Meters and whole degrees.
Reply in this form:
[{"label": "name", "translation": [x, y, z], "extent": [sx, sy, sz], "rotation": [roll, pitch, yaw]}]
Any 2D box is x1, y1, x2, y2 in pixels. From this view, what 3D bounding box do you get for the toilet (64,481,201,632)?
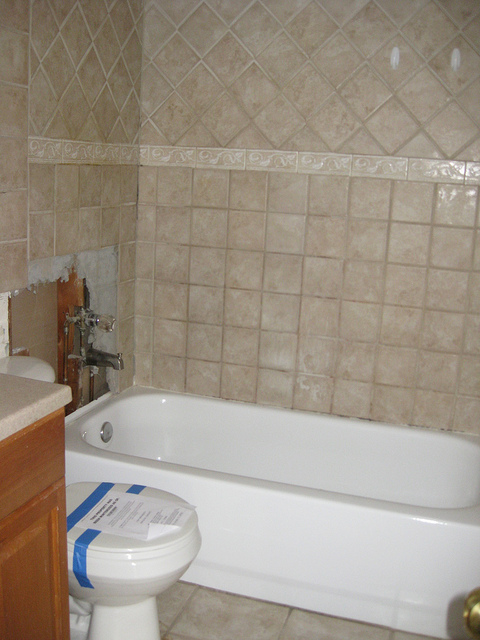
[{"label": "toilet", "translation": [-0.270, 0.620, 1.303], "extent": [0.327, 0.337, 0.383], "rotation": [0, 7, -15]}]
